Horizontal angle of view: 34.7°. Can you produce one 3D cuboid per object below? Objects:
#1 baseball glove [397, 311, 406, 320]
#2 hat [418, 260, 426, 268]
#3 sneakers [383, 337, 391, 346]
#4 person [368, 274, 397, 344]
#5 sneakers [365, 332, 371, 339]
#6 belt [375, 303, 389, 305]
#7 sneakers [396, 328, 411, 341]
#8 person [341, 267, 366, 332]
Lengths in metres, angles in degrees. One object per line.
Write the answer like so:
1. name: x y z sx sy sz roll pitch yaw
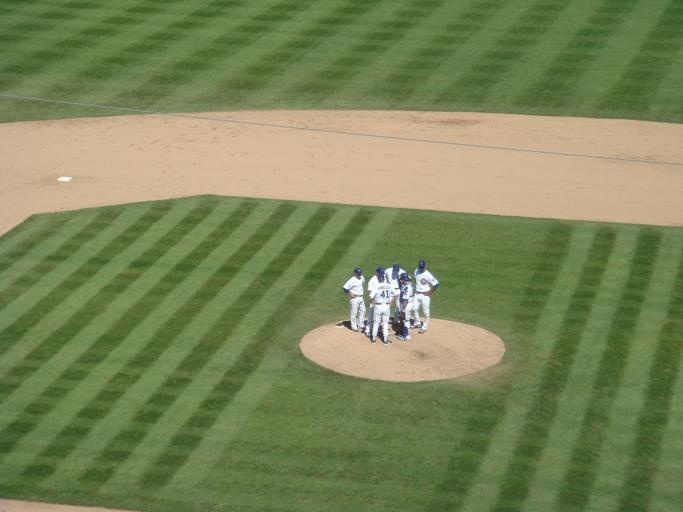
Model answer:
1. baseball glove: 1.388 1.393 25.573 0.205 0.177 0.214 -1 -5 6
2. hat: 1.871 0.189 25.749 0.193 0.092 0.227 2 14 3
3. sneakers: 1.069 1.985 25.406 0.118 0.153 0.262 10 24 20
4. person: 0.922 1.148 25.420 0.644 1.757 0.676 3 18 2
5. sneakers: 0.592 1.861 25.770 0.103 0.040 0.098 -14 52 11
6. belt: 0.905 1.109 25.321 0.255 0.061 0.073 0 15 -6
7. sneakers: 1.433 1.833 25.589 0.305 0.249 0.170 19 48 22
8. person: 0.293 1.015 25.898 0.544 1.551 0.578 3 18 0
